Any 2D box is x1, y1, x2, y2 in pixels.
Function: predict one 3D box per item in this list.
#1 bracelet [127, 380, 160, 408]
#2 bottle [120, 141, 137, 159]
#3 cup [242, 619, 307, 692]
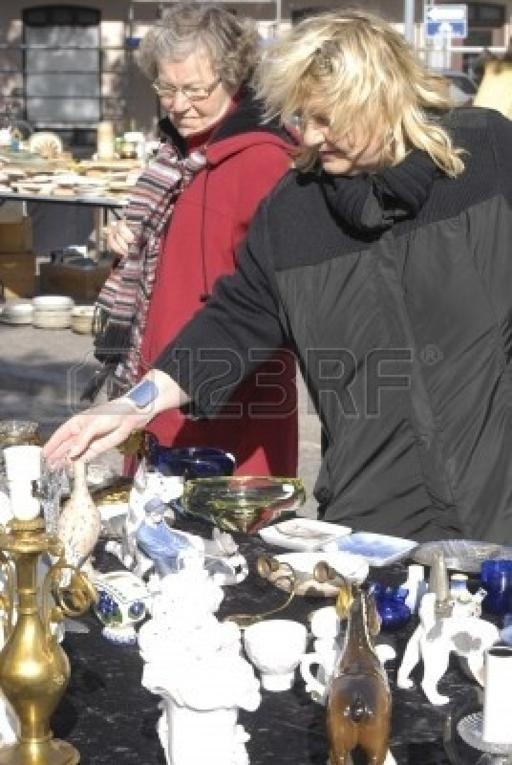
[{"bbox_3d":[-0.250,0.022,1.957,0.044,0.017,0.070,39,26,-6],"label":"bracelet"},{"bbox_3d":[-1.031,-1.907,7.267,0.176,0.158,0.158,3,10,8],"label":"bottle"},{"bbox_3d":[0.031,0.456,1.477,0.108,0.079,0.100,-2,2,0],"label":"cup"}]
